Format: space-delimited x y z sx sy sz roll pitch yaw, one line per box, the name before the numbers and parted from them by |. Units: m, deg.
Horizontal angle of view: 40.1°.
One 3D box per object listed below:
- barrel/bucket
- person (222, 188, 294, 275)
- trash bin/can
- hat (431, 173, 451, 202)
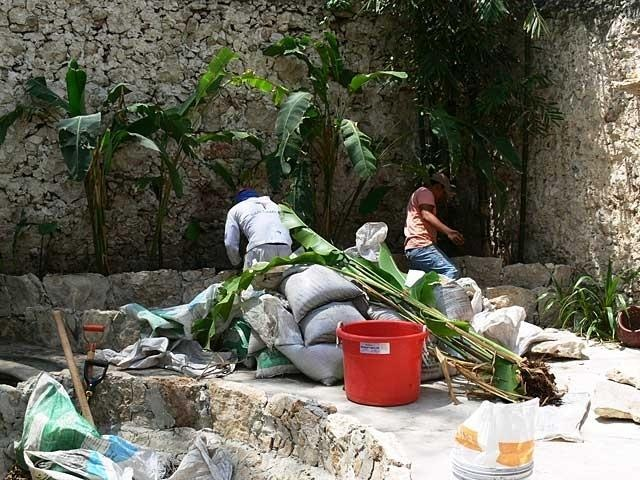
barrel/bucket | 0.528 1.007 7.096 0.635 0.544 0.656 -1 3 0
person | -0.662 -0.108 8.857 0.475 0.513 0.821 -17 25 -4
trash bin/can | 0.530 1.002 7.381 0.787 0.676 0.845 1 1 -10
hat | 1.245 -0.571 9.149 0.255 0.298 0.209 -4 23 -9
